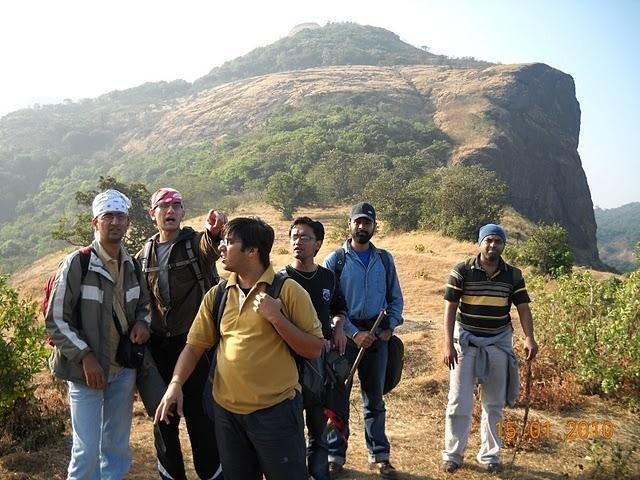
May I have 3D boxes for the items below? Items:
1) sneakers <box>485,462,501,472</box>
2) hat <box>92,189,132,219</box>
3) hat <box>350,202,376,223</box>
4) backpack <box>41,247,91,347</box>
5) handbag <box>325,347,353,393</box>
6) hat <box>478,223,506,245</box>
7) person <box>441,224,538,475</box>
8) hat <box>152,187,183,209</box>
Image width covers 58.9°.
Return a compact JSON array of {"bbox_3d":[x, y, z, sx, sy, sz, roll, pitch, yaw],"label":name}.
[{"bbox_3d":[1.865,2.436,6.109,0.174,0.087,0.062,-3,4,5],"label":"sneakers"},{"bbox_3d":[-2.003,-0.345,5.452,0.336,0.296,0.275,2,0,-44],"label":"hat"},{"bbox_3d":[0.467,-0.308,6.121,0.170,0.267,0.252,3,5,1],"label":"hat"},{"bbox_3d":[-2.316,0.522,5.326,0.502,0.584,0.390,0,11,-5],"label":"backpack"},{"bbox_3d":[0.146,1.237,5.377,0.156,0.379,0.519,5,9,31],"label":"handbag"},{"bbox_3d":[1.862,-0.069,6.220,0.214,0.200,0.237,2,4,-14],"label":"hat"},{"bbox_3d":[1.807,1.170,6.178,0.922,2.652,0.501,1,7,3],"label":"person"},{"bbox_3d":[-1.544,-0.425,5.799,0.234,0.160,0.239,-1,-1,44],"label":"hat"}]
